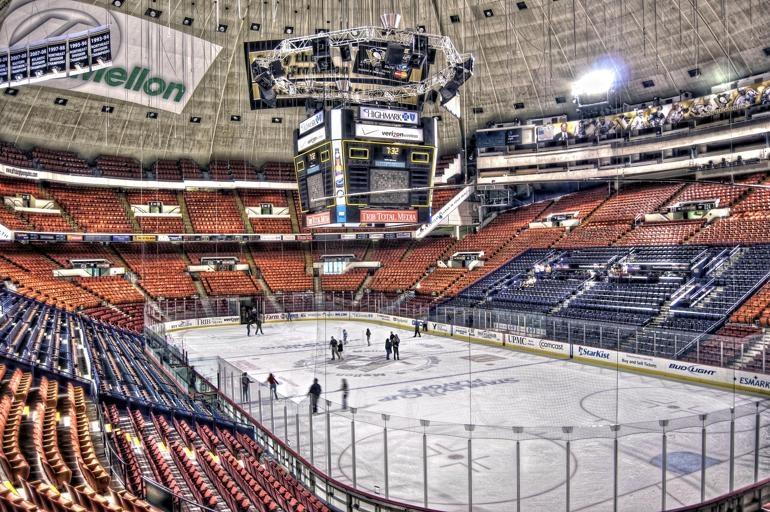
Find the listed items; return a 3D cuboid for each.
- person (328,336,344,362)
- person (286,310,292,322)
[{"bbox_3d":[-2.929,5.632,46.877,0.758,1.515,2.064,3,-19,-2],"label":"person"},{"bbox_3d":[-7.675,4.800,61.893,0.441,0.778,0.320,9,-20,-19],"label":"person"}]
